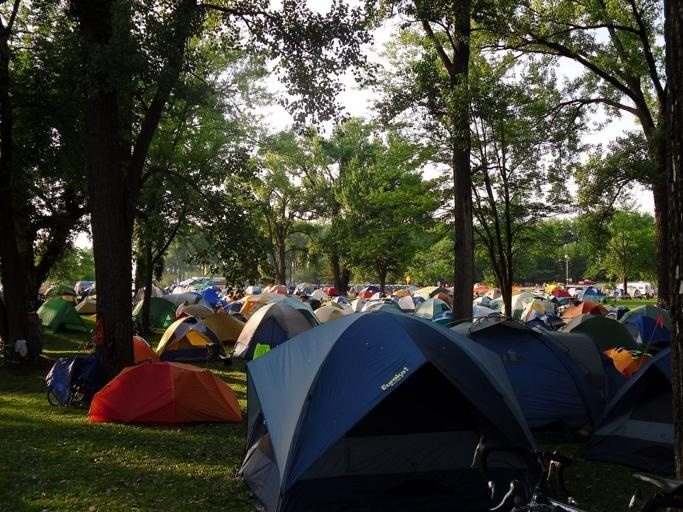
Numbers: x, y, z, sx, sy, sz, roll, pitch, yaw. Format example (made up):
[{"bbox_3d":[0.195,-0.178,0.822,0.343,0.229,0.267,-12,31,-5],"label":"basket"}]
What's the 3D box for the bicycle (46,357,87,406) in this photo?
[{"bbox_3d":[-6.814,2.988,15.739,0.968,0.997,0.902,8,-7,-12],"label":"bicycle"}]
